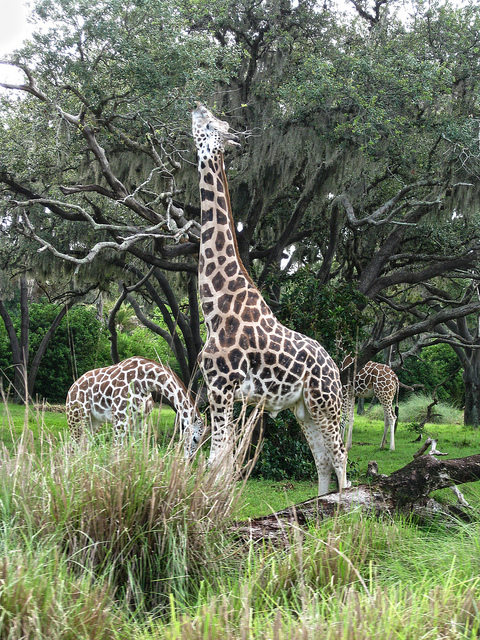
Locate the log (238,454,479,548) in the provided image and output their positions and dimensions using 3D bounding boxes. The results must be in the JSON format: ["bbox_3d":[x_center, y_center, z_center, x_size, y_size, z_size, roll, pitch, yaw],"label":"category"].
[{"bbox_3d":[0.948,1.147,4.128,2.037,0.483,0.684,7,-2,-36],"label":"log"}]

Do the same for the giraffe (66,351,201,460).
[{"bbox_3d":[-1.089,0.943,6.176,1.530,1.151,0.424,4,-3,19],"label":"giraffe"}]
